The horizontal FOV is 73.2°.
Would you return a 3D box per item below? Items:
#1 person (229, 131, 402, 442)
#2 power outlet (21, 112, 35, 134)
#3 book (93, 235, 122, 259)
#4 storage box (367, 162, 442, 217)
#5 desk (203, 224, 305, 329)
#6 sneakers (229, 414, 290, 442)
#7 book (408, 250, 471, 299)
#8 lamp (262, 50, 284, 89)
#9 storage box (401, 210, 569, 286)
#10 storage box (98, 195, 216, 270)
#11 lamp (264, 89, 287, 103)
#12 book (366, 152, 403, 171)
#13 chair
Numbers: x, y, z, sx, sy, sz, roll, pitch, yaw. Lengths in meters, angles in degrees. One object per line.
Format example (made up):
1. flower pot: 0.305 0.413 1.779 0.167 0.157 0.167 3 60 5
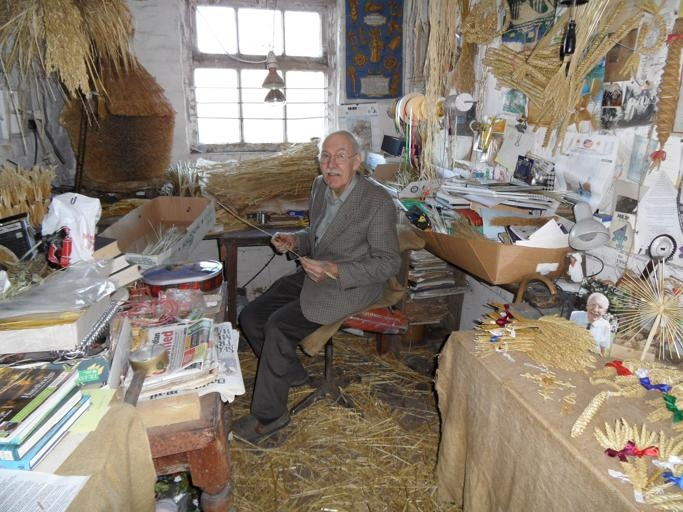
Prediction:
1. person: -0.205 0.148 2.653 1.084 1.594 0.742 -11 21 -35
2. power outlet: -1.845 -0.770 2.700 0.041 0.114 0.173 -8 20 -18
3. book: -0.917 -0.026 1.796 0.080 0.058 0.132 2 18 -6
4. storage box: 0.355 -0.404 2.902 0.371 0.159 0.493 -12 35 -24
5. desk: -0.551 0.129 3.408 0.766 0.747 0.686 0 21 -6
6. sneakers: -0.464 0.923 2.518 0.251 0.093 0.122 -9 41 -14
7. book: 0.639 0.137 3.031 0.368 0.100 0.363 -1 21 -8
8. lamp: -0.555 -1.448 3.655 0.165 0.279 0.394 -4 19 -7
9. storage box: 0.674 -0.084 2.115 0.349 0.144 0.444 -7 17 -26
10. storage box: -1.027 -0.171 2.731 0.416 0.155 0.761 5 27 6
11. lamp: -0.520 -1.229 3.621 0.128 0.118 0.125 9 18 25
12. book: 0.296 -0.752 3.662 0.252 0.176 0.342 2 12 -9
13. chair: 0.040 0.338 3.209 1.095 1.303 0.989 1 6 -9
